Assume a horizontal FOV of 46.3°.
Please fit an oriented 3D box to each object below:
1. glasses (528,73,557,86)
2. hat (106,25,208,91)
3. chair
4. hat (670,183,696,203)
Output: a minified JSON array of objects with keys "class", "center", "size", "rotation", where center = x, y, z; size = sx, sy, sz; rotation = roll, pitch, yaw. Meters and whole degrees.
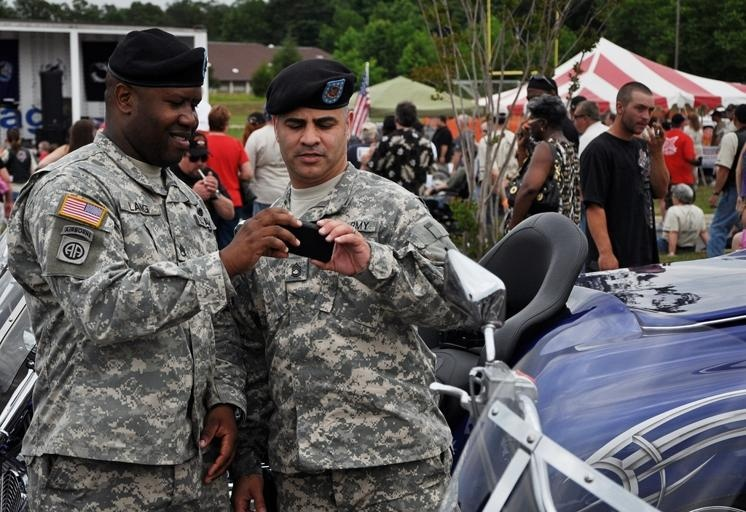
[{"class":"glasses","center":[1.482,-1.534,7.638],"size":[0.217,0.106,0.342],"rotation":[7,11,13]},{"class":"hat","center":[-0.823,-0.767,3.341],"size":[0.412,0.190,0.376],"rotation":[8,19,9]},{"class":"chair","center":[0.581,0.267,4.222],"size":[0.807,0.871,0.693],"rotation":[-12,15,-43]},{"class":"hat","center":[3.669,-0.744,10.365],"size":[0.227,0.207,0.365],"rotation":[8,12,21]}]
